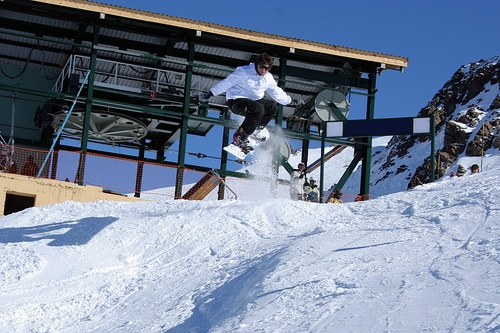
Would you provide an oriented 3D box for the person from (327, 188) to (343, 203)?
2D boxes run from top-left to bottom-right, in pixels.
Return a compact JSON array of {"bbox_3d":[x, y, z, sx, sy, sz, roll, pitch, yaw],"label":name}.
[{"bbox_3d":[2.840,0.994,25.693,0.443,0.445,1.736,8,-1,6],"label":"person"}]

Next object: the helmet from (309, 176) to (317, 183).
[{"bbox_3d":[2.184,0.439,26.076,0.223,0.219,0.254,7,-29,-11],"label":"helmet"}]

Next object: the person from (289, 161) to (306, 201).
[{"bbox_3d":[1.620,0.467,25.621,0.531,1.277,0.991,9,-1,4],"label":"person"}]

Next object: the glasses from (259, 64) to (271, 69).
[{"bbox_3d":[0.415,-2.728,20.685,0.261,0.127,0.190,8,-1,-32],"label":"glasses"}]

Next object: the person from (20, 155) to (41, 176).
[{"bbox_3d":[-7.985,-0.009,27.955,0.522,0.756,1.275,9,-1,-11],"label":"person"}]
